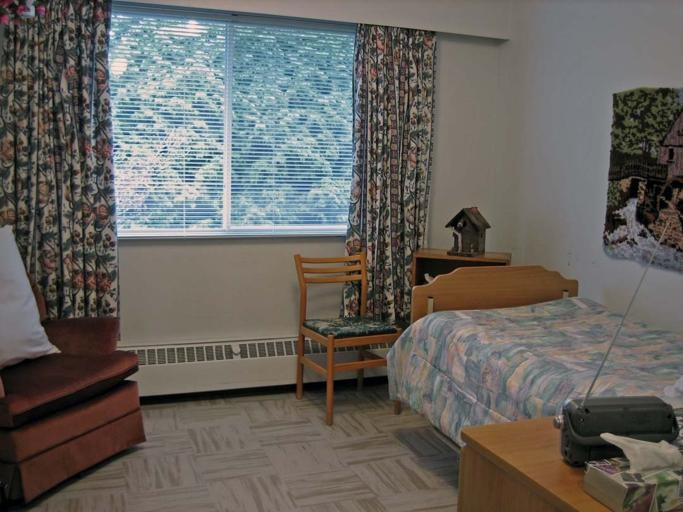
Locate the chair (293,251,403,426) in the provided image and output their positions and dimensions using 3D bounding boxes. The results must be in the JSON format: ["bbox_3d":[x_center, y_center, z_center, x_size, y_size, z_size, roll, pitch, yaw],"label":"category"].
[{"bbox_3d":[0.051,0.529,3.697,0.632,1.149,0.631,0,5,-21],"label":"chair"}]
